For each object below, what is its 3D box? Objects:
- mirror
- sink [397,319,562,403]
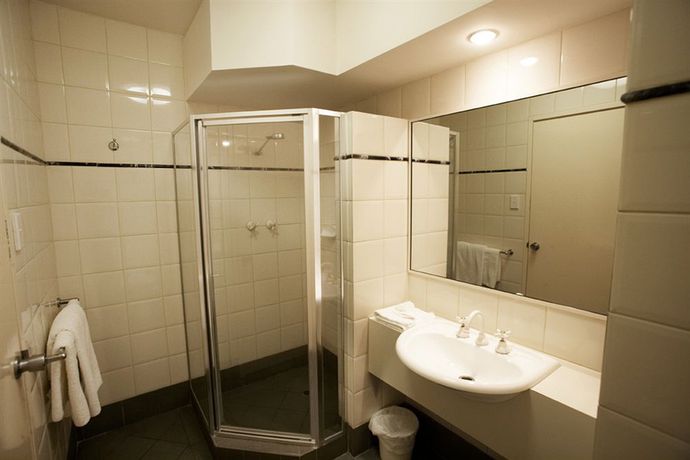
[{"bbox_3d":[1.077,-0.205,2.831,0.092,1.370,1.585,-3,3,-44],"label":"mirror"},{"bbox_3d":[0.722,0.782,2.704,0.842,0.243,0.566,7,12,37],"label":"sink"}]
